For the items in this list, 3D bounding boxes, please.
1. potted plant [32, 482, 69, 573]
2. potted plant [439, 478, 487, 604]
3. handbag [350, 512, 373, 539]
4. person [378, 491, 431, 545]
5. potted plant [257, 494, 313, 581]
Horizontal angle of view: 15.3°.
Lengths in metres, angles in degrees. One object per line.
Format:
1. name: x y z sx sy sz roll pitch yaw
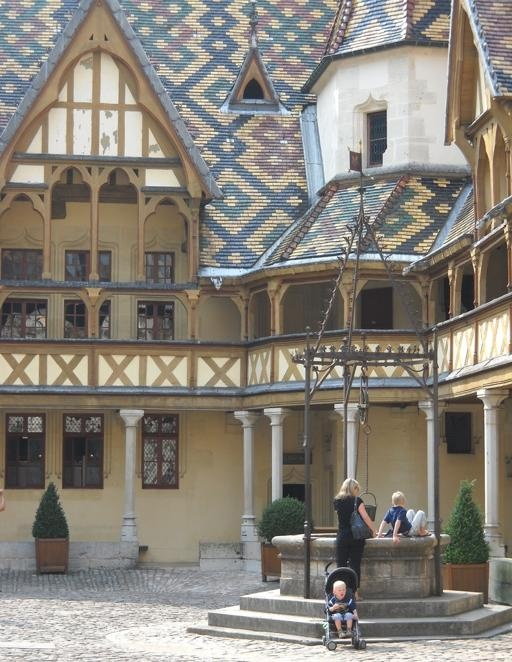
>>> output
1. potted plant: -3.850 3.705 36.082 0.673 1.669 0.625 0 -7 -8
2. potted plant: 3.198 3.183 29.130 0.752 1.773 0.773 0 -7 -3
3. handbag: 1.448 2.633 26.036 0.276 0.373 0.122 -1 -7 -1
4. person: 2.117 2.606 27.288 0.413 0.718 0.881 -2 2 44
5. potted plant: 0.459 3.686 34.102 1.096 1.800 1.144 -1 -1 14
